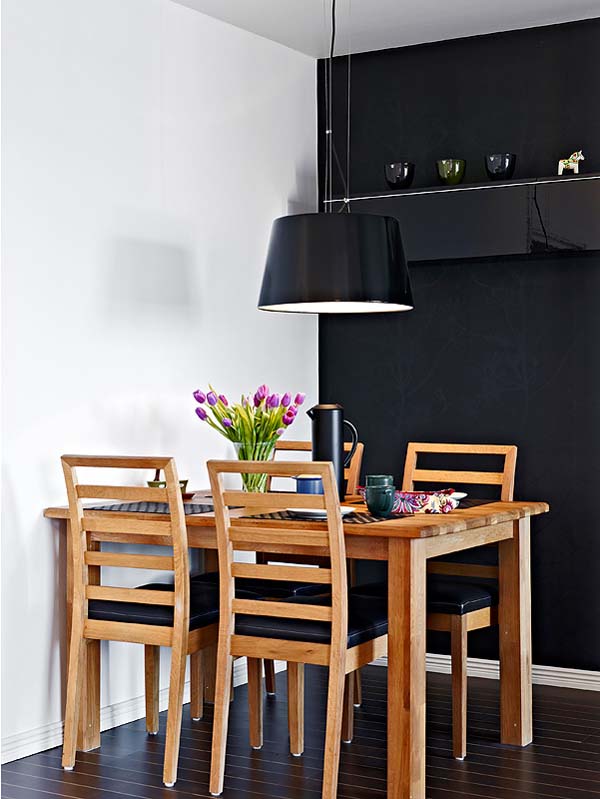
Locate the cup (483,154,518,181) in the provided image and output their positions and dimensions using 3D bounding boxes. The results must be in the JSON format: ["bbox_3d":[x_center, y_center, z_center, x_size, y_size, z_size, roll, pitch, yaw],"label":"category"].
[{"bbox_3d":[0.829,-0.949,3.042,0.112,0.098,0.109,0,8,0],"label":"cup"}]

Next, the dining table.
[{"bbox_3d":[0.257,0.551,2.142,1.067,0.687,0.882,-4,-6,34],"label":"dining table"}]

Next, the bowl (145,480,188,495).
[{"bbox_3d":[-0.424,0.271,2.342,0.118,0.049,0.099,-1,-2,31],"label":"bowl"}]

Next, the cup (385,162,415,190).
[{"bbox_3d":[0.437,-0.990,3.253,0.115,0.098,0.110,0,4,0],"label":"cup"}]

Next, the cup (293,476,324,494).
[{"bbox_3d":[0.025,0.220,1.968,0.055,0.044,0.057,1,0,0],"label":"cup"}]

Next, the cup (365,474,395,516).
[{"bbox_3d":[0.222,0.248,1.925,0.068,0.104,0.105,-2,-7,12],"label":"cup"}]

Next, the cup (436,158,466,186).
[{"bbox_3d":[0.639,-0.971,3.125,0.101,0.094,0.115,-2,3,-8],"label":"cup"}]

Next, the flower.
[{"bbox_3d":[-0.167,0.143,2.518,0.363,0.389,0.319,-1,3,11],"label":"flower"}]
